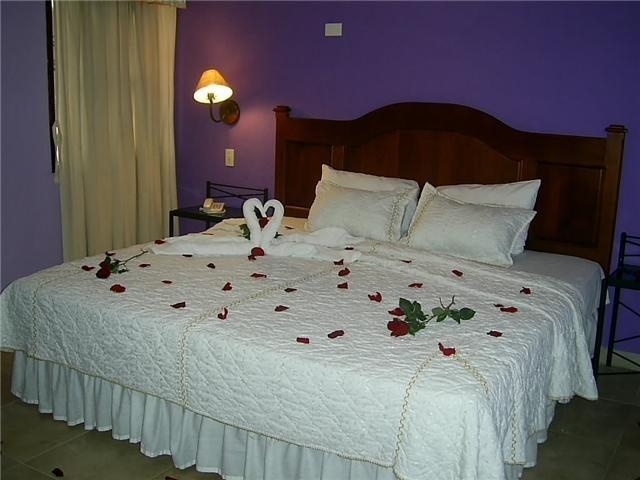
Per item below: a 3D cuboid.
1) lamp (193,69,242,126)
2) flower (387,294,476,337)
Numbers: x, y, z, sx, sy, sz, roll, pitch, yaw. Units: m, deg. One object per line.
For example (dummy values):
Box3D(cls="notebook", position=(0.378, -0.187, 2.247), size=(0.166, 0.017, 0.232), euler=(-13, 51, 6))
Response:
Box3D(cls="lamp", position=(-0.912, -1.307, 4.747), size=(0.374, 0.521, 0.407), euler=(-15, -18, 34))
Box3D(cls="flower", position=(0.494, 0.340, 2.442), size=(0.474, 0.121, 0.232), euler=(-1, 13, -25))
